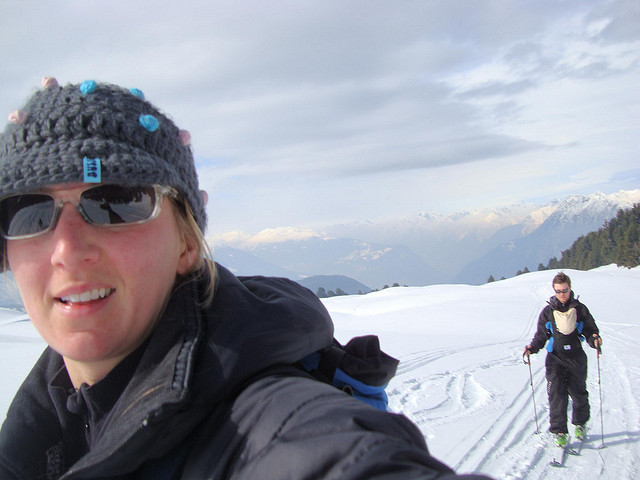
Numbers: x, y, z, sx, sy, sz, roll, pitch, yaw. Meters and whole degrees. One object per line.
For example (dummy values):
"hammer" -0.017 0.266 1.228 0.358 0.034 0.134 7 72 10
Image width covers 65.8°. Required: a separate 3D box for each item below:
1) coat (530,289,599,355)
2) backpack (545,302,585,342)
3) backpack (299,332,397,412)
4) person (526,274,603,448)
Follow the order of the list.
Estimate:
"coat" 3.767 1.311 7.733 1.051 0.919 0.448 -6 -9 22
"backpack" 3.896 1.265 7.784 0.504 0.619 0.316 5 -7 23
"backpack" 0.195 0.698 2.608 0.383 0.186 0.450 -16 18 -5
"person" 3.671 1.770 7.536 1.408 2.301 0.866 -14 5 -40
